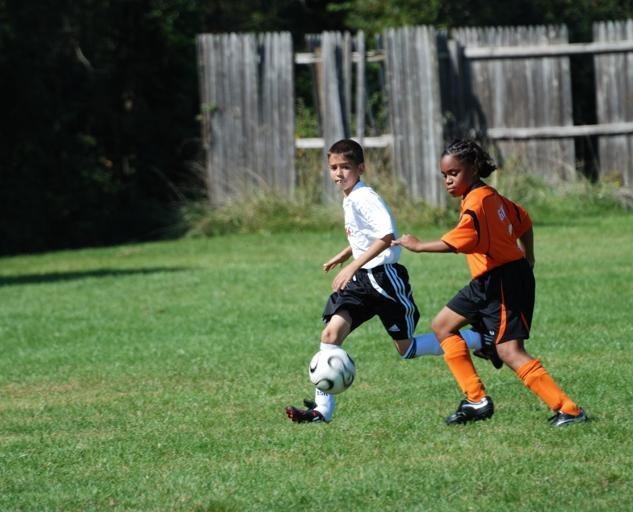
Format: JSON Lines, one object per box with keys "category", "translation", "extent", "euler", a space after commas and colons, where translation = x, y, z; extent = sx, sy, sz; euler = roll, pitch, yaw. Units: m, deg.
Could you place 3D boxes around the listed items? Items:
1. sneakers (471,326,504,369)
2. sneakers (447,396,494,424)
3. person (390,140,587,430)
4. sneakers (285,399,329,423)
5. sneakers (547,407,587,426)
{"category": "sneakers", "translation": [0.895, 0.469, 5.613], "extent": [0.060, 0.205, 0.191], "euler": [20, -19, -6]}
{"category": "sneakers", "translation": [0.740, 0.738, 5.254], "extent": [0.248, 0.138, 0.102], "euler": [-11, -3, -2]}
{"category": "person", "translation": [0.814, 0.102, 5.238], "extent": [0.809, 1.291, 0.519], "euler": [1, 13, 11]}
{"category": "sneakers", "translation": [-0.060, 0.745, 5.229], "extent": [0.167, 0.075, 0.102], "euler": [10, 4, -40]}
{"category": "sneakers", "translation": [1.169, 0.755, 5.116], "extent": [0.180, 0.090, 0.073], "euler": [-3, 3, -2]}
